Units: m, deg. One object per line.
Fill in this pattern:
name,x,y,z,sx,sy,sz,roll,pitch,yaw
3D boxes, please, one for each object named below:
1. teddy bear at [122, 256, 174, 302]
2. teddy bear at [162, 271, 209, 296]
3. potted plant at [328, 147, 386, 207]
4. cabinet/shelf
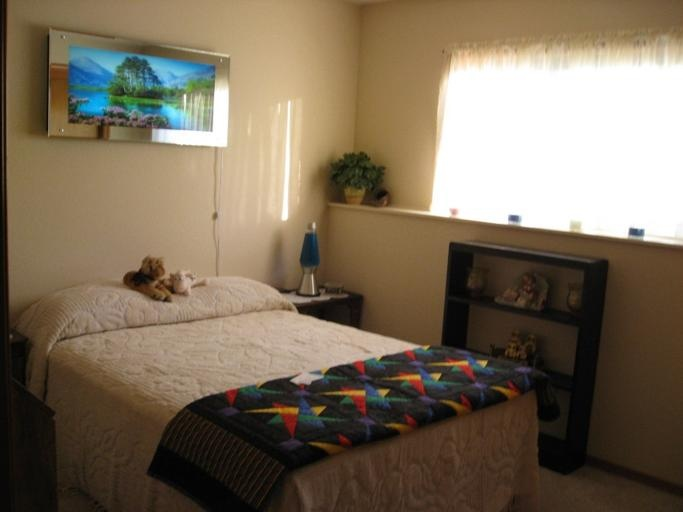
teddy bear,-1.276,0.133,3.373,0.445,0.288,0.194,5,3,39
teddy bear,-1.047,0.161,3.432,0.146,0.112,0.221,-2,8,-7
potted plant,0.157,-0.666,4.510,0.432,0.443,0.310,-8,14,-43
cabinet/shelf,1.136,0.598,3.087,0.292,1.594,1.051,-10,16,-38
